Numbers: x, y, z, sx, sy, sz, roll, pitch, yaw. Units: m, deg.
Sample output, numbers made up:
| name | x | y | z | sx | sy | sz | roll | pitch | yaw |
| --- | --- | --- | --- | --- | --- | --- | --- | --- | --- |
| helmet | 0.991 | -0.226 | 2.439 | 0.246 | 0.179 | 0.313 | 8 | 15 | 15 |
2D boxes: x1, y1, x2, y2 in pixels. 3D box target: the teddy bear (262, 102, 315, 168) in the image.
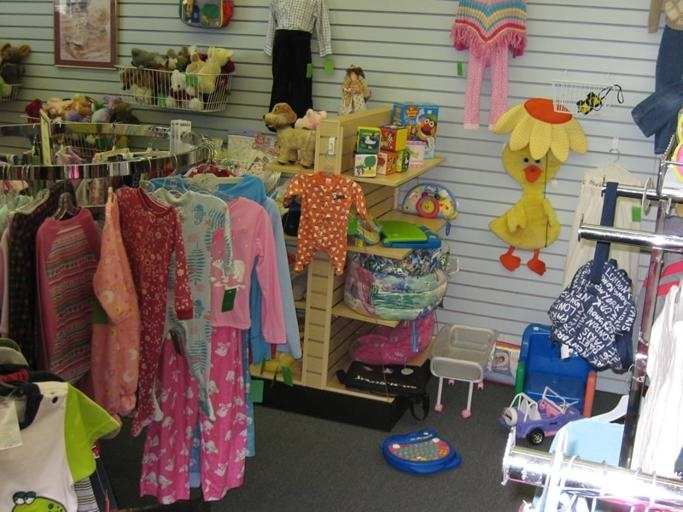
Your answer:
| name | x | y | z | sx | sy | sz | roll | pitch | yaw |
| --- | --- | --- | --- | --- | --- | --- | --- | --- | --- |
| teddy bear | -0.265 | -0.786 | 3.922 | 0.488 | 0.389 | 0.240 | 17 | 19 | 40 |

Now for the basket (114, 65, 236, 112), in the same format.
| name | x | y | z | sx | sy | sz | roll | pitch | yaw |
| --- | --- | --- | --- | --- | --- | --- | --- | --- | --- |
| basket | -1.325 | -1.330 | 4.779 | 0.690 | 0.261 | 0.448 | 6 | 17 | 18 |

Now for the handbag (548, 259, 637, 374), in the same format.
| name | x | y | z | sx | sy | sz | roll | pitch | yaw |
| --- | --- | --- | --- | --- | --- | --- | --- | --- | --- |
| handbag | 1.578 | 0.342 | 3.767 | 0.495 | 0.656 | 0.146 | 8 | -27 | 26 |

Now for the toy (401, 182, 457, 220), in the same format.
| name | x | y | z | sx | sy | sz | roll | pitch | yaw |
| --- | --- | --- | --- | --- | --- | --- | --- | --- | --- |
| toy | 0.649 | -0.446 | 4.465 | 0.388 | 0.269 | 0.226 | 6 | 30 | 13 |

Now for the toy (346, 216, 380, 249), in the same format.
| name | x | y | z | sx | sy | sz | roll | pitch | yaw |
| --- | --- | --- | --- | --- | --- | --- | --- | --- | --- |
| toy | 0.149 | -0.171 | 3.752 | 0.239 | 0.205 | 0.170 | 2 | 14 | -9 |

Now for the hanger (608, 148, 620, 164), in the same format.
| name | x | y | z | sx | sy | sz | roll | pitch | yaw |
| --- | --- | --- | --- | --- | --- | --- | --- | --- | --- |
| hanger | 1.929 | -0.712 | 4.235 | 0.075 | 0.102 | 0.043 | 9 | 14 | 19 |

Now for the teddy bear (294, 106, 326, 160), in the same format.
| name | x | y | z | sx | sy | sz | roll | pitch | yaw |
| --- | --- | --- | --- | --- | --- | --- | --- | --- | --- |
| teddy bear | -0.199 | -0.894 | 4.067 | 0.165 | 0.194 | 0.186 | 12 | -5 | -20 |

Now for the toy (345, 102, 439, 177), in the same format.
| name | x | y | z | sx | sy | sz | roll | pitch | yaw |
| --- | --- | --- | --- | --- | --- | --- | --- | --- | --- |
| toy | 0.325 | -0.783 | 3.980 | 0.416 | 0.453 | 0.915 | 9 | 16 | 19 |

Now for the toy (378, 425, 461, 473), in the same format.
| name | x | y | z | sx | sy | sz | roll | pitch | yaw |
| --- | --- | --- | --- | --- | --- | --- | --- | --- | --- |
| toy | 0.497 | 1.188 | 3.664 | 0.462 | 0.128 | 0.302 | 1 | 16 | -13 |

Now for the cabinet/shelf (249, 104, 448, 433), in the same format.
| name | x | y | z | sx | sy | sz | roll | pitch | yaw |
| --- | --- | --- | --- | --- | --- | --- | --- | --- | --- |
| cabinet/shelf | 0.049 | 0.131 | 3.801 | 1.034 | 2.055 | 1.737 | 4 | 12 | 17 |

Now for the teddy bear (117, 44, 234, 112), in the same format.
| name | x | y | z | sx | sy | sz | roll | pitch | yaw |
| --- | --- | --- | --- | --- | --- | --- | --- | --- | --- |
| teddy bear | -1.309 | -1.382 | 4.783 | 0.755 | 0.316 | 0.520 | 6 | 17 | 22 |
